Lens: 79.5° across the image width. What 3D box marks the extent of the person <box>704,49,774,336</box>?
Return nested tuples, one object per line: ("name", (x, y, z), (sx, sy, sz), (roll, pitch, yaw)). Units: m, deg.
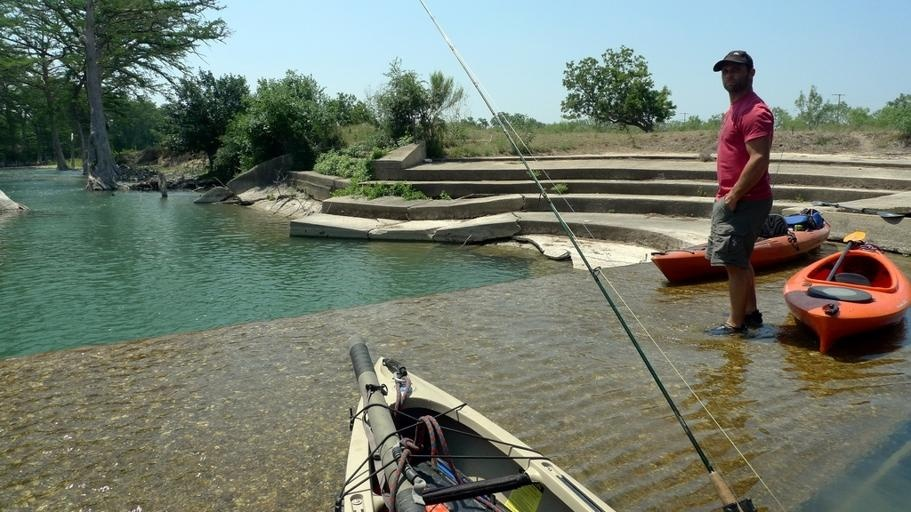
("person", (4.100, -0.835, 7.701), (1.201, 3.636, 1.577), (2, 8, 41))
